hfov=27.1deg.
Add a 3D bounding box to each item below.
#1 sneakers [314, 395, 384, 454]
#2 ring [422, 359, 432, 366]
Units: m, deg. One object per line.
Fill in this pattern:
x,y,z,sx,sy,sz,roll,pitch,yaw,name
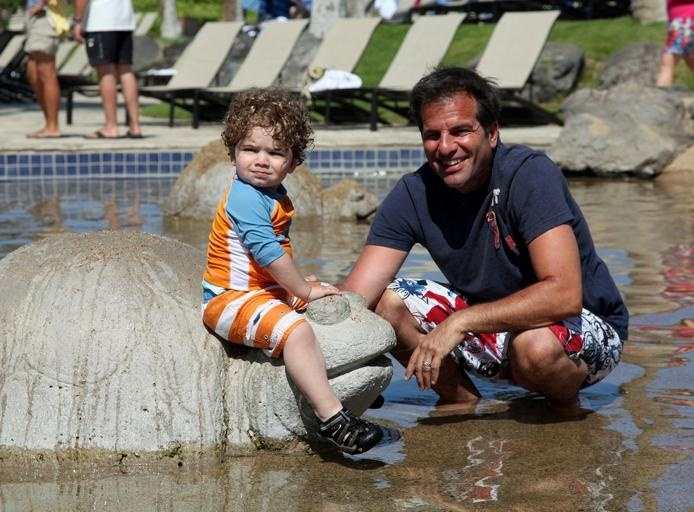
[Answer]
0.001,0.948,7.961,0.333,0.147,0.217,11,37,27,sneakers
0.455,0.628,8.249,0.057,0.023,0.021,2,6,20,ring
